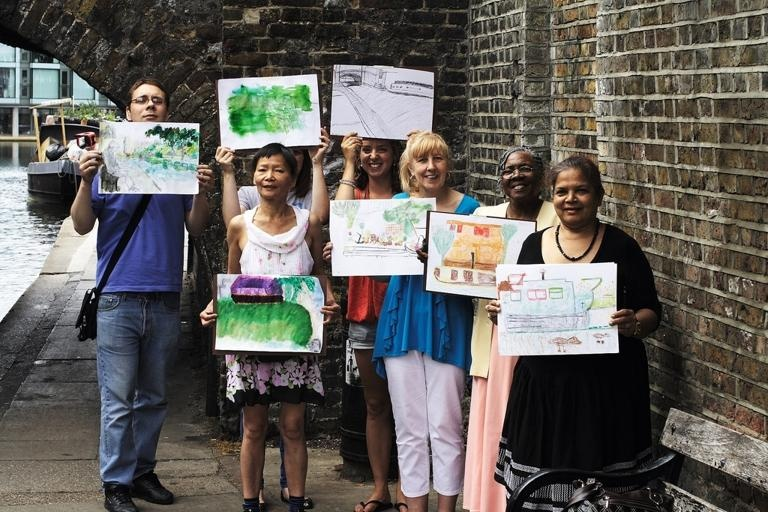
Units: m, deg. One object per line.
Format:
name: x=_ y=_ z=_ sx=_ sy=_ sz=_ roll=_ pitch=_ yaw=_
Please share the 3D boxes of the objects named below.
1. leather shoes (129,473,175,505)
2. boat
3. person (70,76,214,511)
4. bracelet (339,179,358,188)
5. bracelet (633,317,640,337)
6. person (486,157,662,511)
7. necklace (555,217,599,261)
leather shoes: x=-1.806 y=1.814 z=5.329 sx=0.372 sy=0.225 sz=0.178 roll=6 pitch=8 yaw=9
boat: x=-15.710 y=-4.386 z=32.247 sx=2.682 sy=3.838 sz=8.149 roll=5 pitch=2 yaw=-29
person: x=-1.789 y=0.565 z=5.146 sx=0.939 sy=2.751 sz=0.689 roll=-7 pitch=12 yaw=-24
bracelet: x=-0.261 y=-0.571 z=5.250 sx=0.082 sy=0.024 sz=0.083 roll=7 pitch=-6 yaw=42
bracelet: x=1.408 y=0.393 z=3.709 sx=0.061 sy=0.078 sz=0.029 roll=9 pitch=-5 yaw=-42
person: x=1.076 y=0.445 z=3.826 sx=0.934 sy=1.990 sz=0.574 roll=2 pitch=12 yaw=20
necklace: x=1.155 y=-0.090 z=3.852 sx=0.202 sy=0.248 sz=0.049 roll=10 pitch=1 yaw=27
